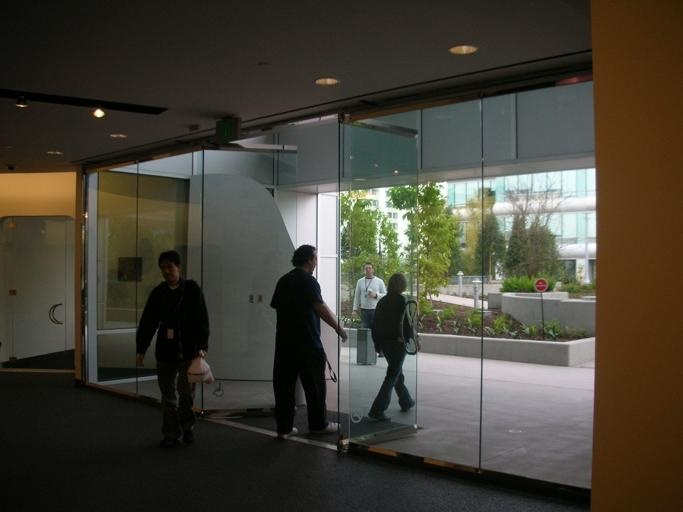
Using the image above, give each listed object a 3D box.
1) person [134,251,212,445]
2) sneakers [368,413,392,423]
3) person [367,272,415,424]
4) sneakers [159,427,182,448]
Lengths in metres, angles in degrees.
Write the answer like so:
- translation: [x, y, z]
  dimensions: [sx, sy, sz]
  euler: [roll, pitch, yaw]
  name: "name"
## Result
- translation: [-1.719, 0.957, 5.681]
  dimensions: [0.780, 1.995, 0.522]
  euler: [2, 7, 35]
  name: "person"
- translation: [0.373, 1.584, 5.371]
  dimensions: [0.206, 0.074, 0.078]
  euler: [-6, -10, 26]
  name: "sneakers"
- translation: [0.484, 0.892, 5.329]
  dimensions: [0.426, 1.422, 0.216]
  euler: [-1, 6, 9]
  name: "person"
- translation: [-1.737, 1.864, 5.558]
  dimensions: [0.115, 0.220, 0.217]
  euler: [-1, -13, 8]
  name: "sneakers"
